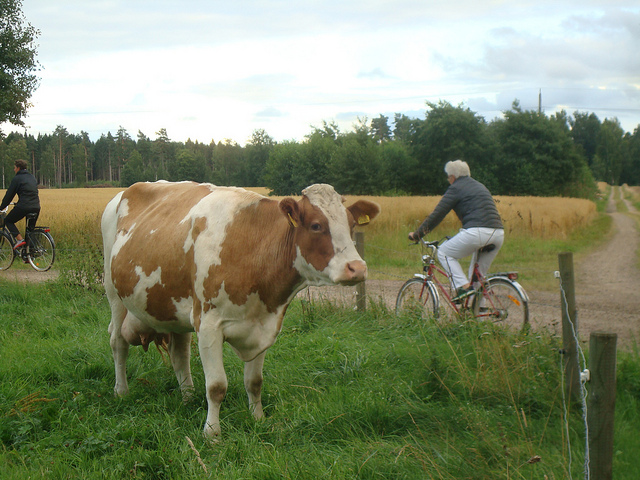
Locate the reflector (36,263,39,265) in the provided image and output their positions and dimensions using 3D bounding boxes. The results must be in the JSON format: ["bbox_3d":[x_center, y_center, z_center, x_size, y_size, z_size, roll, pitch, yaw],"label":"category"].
[{"bbox_3d":[-6.733,0.550,21.276,0.041,0.042,0.043,8,-4,31],"label":"reflector"}]

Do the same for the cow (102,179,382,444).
[{"bbox_3d":[-1.404,0.980,13.051,4.021,3.604,1.307,1,4,31],"label":"cow"}]
